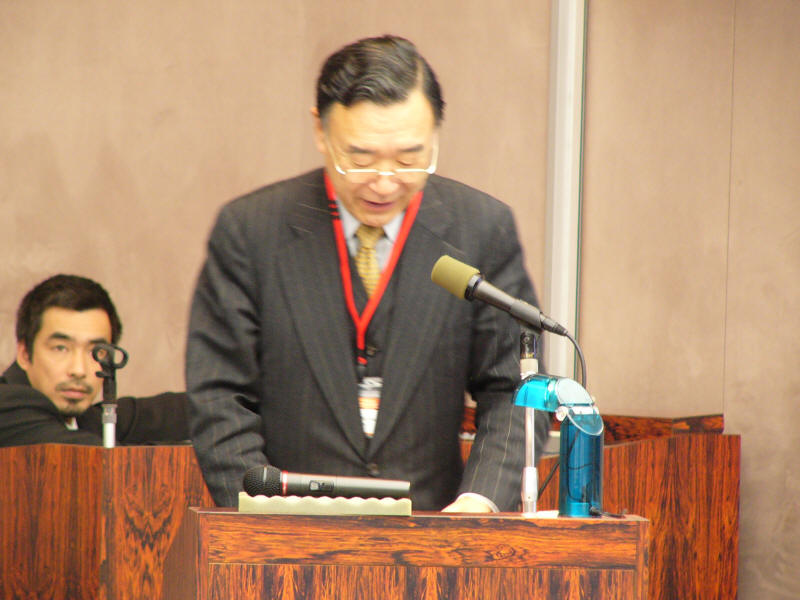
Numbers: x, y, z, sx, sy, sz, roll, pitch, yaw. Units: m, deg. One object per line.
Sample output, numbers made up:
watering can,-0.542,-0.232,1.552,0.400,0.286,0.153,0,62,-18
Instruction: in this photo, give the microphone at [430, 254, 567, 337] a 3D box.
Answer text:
microphone,0.344,0.009,4.850,0.510,0.122,0.137,27,-42,5

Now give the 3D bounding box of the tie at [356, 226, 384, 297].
tie,-0.112,-0.165,5.344,0.091,0.091,0.362,14,-44,9
